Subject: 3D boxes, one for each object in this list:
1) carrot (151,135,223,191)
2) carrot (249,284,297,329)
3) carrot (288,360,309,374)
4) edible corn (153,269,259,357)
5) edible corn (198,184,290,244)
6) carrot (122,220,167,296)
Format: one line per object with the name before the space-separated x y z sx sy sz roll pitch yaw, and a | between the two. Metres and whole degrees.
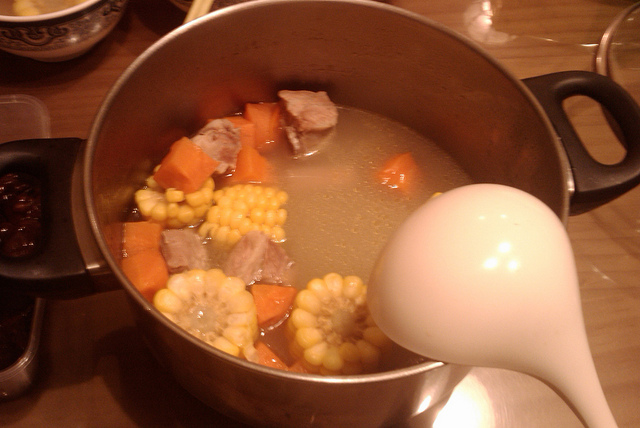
carrot | -0.345 -0.122 1.376 0.136 0.096 0.145 39 81 -21
carrot | -0.113 0.208 1.242 0.101 0.026 0.097 18 65 -3
carrot | -0.044 0.335 1.177 0.045 0.069 0.023 10 78 1
edible corn | -0.241 0.203 1.218 0.245 0.082 0.156 28 79 4
edible corn | -0.183 -0.006 1.342 0.179 0.058 0.154 8 57 -3
carrot | -0.406 0.098 1.248 0.164 0.049 0.160 -1 64 -27
